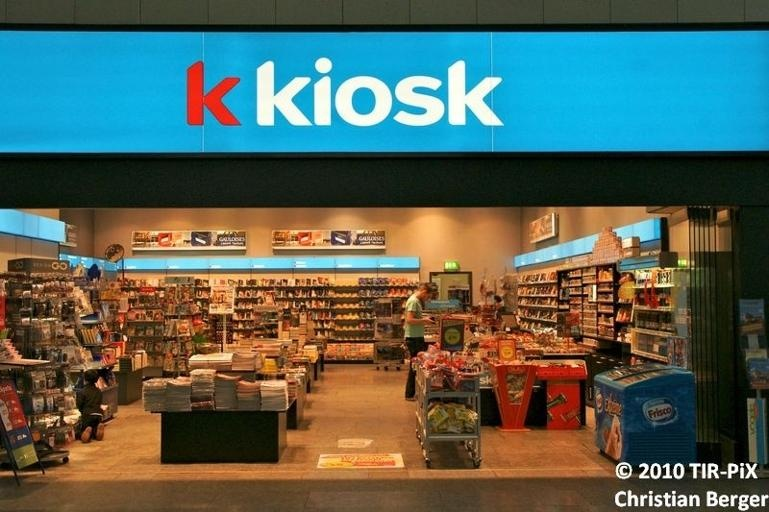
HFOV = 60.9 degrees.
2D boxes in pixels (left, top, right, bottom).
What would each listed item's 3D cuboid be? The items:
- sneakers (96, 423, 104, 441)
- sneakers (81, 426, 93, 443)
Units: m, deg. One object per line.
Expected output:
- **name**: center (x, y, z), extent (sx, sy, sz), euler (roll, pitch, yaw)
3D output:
- **sneakers**: center (-4.130, 2.547, 9.510), extent (0.091, 0.232, 0.104), euler (15, -7, -31)
- **sneakers**: center (-4.288, 2.560, 9.405), extent (0.093, 0.209, 0.102), euler (-21, -45, 38)
